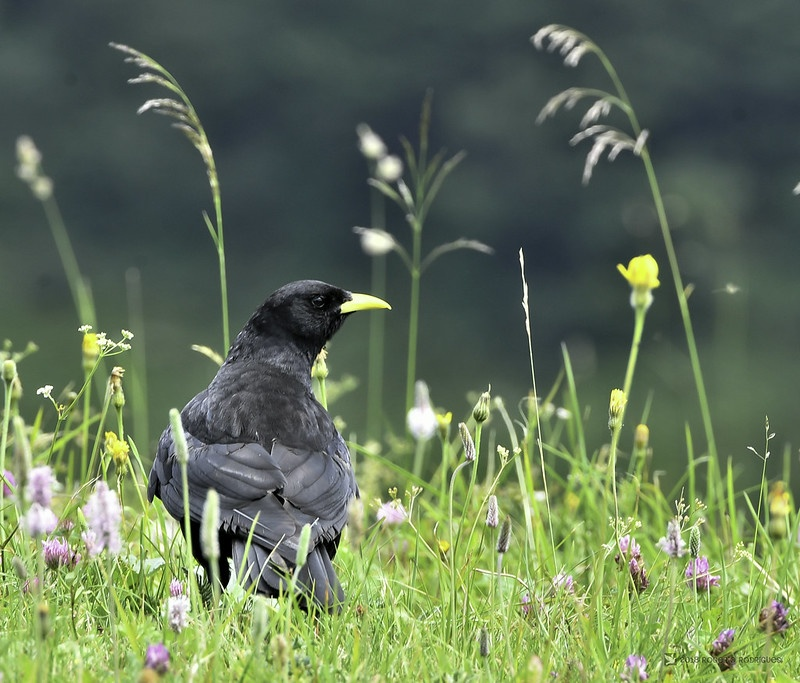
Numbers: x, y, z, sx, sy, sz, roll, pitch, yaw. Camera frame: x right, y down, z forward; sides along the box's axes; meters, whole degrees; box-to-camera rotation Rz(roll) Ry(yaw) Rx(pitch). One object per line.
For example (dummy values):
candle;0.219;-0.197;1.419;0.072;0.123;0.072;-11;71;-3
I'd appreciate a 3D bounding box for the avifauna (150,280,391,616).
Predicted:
avifauna;-0.586;0.339;4.365;0.827;1.486;1.161;1;-10;-3

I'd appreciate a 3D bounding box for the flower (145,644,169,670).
flower;-0.714;0.925;3.080;0.053;0.084;0.073;-5;-35;-19

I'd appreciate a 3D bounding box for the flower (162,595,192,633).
flower;-0.692;0.854;3.276;0.071;0.116;0.320;2;-12;-11

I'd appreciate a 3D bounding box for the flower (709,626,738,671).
flower;1.071;1.025;3.502;0.082;0.131;0.211;-3;-11;17

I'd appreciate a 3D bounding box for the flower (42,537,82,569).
flower;-1.239;0.777;3.846;0.123;0.113;0.194;3;-12;-16
